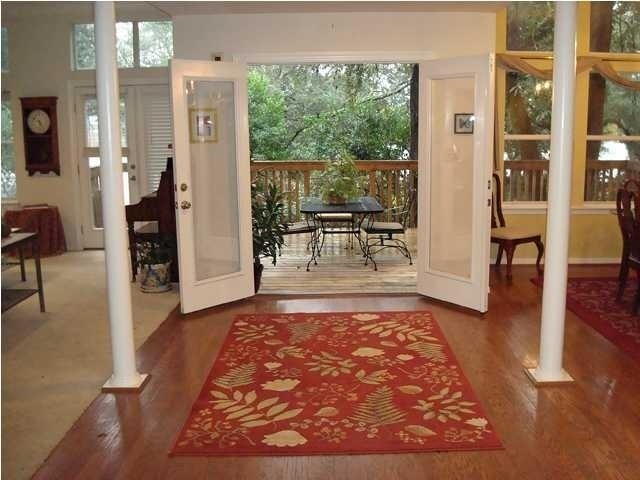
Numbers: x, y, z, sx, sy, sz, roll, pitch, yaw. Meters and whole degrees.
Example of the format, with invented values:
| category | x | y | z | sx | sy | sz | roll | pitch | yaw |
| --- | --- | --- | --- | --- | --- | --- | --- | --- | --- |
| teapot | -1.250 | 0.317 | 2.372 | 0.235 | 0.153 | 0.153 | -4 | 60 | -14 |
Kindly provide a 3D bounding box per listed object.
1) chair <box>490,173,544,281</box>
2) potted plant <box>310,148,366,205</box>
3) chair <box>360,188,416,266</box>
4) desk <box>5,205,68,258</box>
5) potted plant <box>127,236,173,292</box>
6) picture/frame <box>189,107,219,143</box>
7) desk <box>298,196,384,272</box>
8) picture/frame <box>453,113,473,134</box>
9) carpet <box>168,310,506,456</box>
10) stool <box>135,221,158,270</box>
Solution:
| category | x | y | z | sx | sy | sz | roll | pitch | yaw |
| --- | --- | --- | --- | --- | --- | --- | --- | --- | --- |
| chair | 2.532 | -0.219 | 6.227 | 0.661 | 1.279 | 0.818 | 2 | 12 | 16 |
| potted plant | 0.274 | -0.819 | 7.106 | 0.861 | 0.933 | 0.718 | 1 | 1 | -3 |
| chair | 0.991 | -0.199 | 7.096 | 0.694 | 1.171 | 0.791 | 0 | -1 | 10 |
| desk | -2.069 | -0.074 | 3.594 | 0.302 | 0.297 | 0.307 | 3 | 11 | 4 |
| potted plant | -1.880 | 0.255 | 5.769 | 0.592 | 0.710 | 0.528 | -1 | 8 | -7 |
| picture/frame | -1.190 | -1.178 | 4.920 | 0.368 | 0.416 | 0.027 | -5 | 5 | -39 |
| desk | 0.272 | -0.207 | 7.253 | 1.063 | 0.865 | 2.031 | -2 | 11 | -1 |
| picture/frame | 1.452 | -1.195 | 4.915 | 0.022 | 0.229 | 0.221 | -3 | 4 | -44 |
| carpet | 0.111 | 1.015 | 3.873 | 1.976 | 0.133 | 2.070 | -2 | 11 | 0 |
| stool | -2.010 | 0.040 | 5.688 | 0.269 | 0.507 | 0.409 | -6 | 13 | -20 |
